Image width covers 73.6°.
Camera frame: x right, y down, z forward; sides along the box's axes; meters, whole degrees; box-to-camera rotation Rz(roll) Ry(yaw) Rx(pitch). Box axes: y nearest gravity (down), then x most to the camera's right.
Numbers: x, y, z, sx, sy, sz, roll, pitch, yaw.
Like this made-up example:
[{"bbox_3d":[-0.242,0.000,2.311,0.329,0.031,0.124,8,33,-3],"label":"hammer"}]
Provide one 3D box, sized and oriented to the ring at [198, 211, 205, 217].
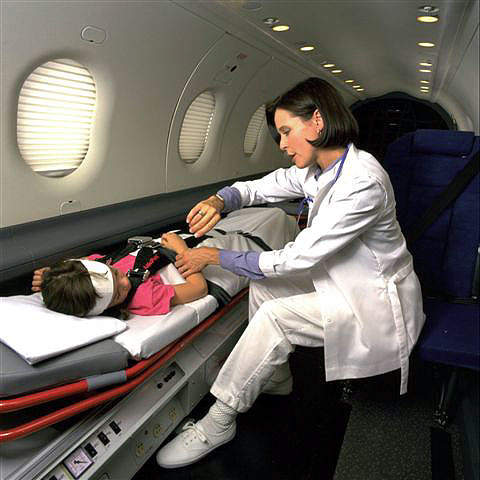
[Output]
[{"bbox_3d":[-0.269,-0.182,2.218,0.036,0.036,0.011,0,-19,1],"label":"ring"}]
